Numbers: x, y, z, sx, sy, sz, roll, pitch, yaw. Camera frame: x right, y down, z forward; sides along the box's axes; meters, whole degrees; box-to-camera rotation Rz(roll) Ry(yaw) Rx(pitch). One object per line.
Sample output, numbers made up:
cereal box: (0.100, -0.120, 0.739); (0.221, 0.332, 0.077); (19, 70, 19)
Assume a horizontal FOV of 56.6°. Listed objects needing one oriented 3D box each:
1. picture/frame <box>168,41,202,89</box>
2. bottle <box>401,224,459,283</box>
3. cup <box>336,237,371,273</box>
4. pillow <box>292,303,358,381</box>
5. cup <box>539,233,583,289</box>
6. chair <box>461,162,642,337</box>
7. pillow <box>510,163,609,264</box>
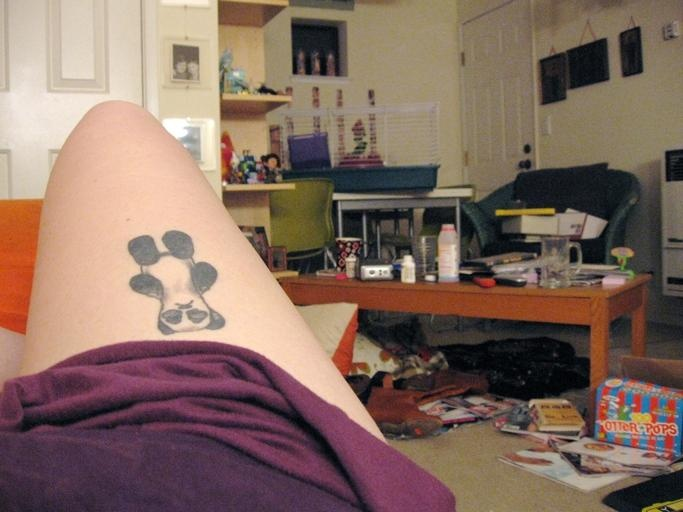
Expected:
picture/frame: (-0.800, -0.962, 3.201); (0.242, 0.293, 0.032); (0, -2, -22)
bottle: (0.418, -0.009, 2.706); (0.306, 0.304, 0.180); (-1, 1, 40)
cup: (0.055, -0.005, 3.049); (0.154, 0.169, 0.148); (-1, -3, 0)
pillow: (-0.064, 0.350, 2.624); (0.281, 0.118, 0.273); (10, 33, -45)
cup: (0.829, 0.002, 2.403); (0.145, 0.179, 0.326); (1, 12, 20)
chair: (1.460, -0.243, 4.321); (1.098, 0.817, 0.630); (-3, -3, 32)
pillow: (1.694, -0.248, 4.663); (0.695, 0.623, 0.677); (2, -1, -45)
